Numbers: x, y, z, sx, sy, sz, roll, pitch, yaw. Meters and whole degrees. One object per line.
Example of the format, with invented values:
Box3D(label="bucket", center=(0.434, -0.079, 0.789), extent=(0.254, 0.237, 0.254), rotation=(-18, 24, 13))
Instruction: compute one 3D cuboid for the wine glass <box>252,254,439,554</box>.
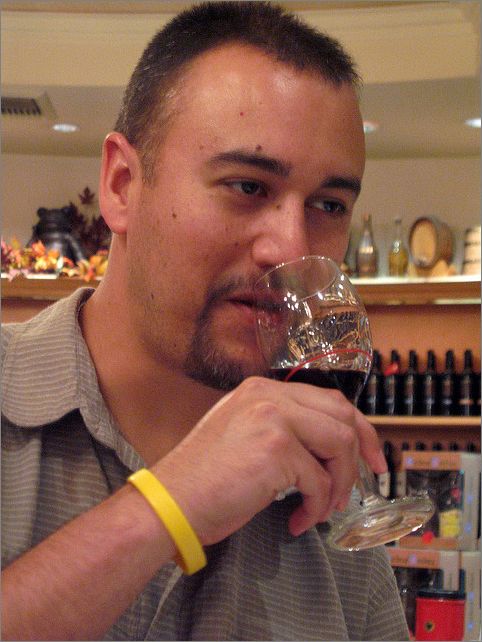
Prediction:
Box3D(label="wine glass", center=(0.143, 0.134, 0.722), extent=(0.168, 0.422, 0.285), rotation=(3, 4, 33))

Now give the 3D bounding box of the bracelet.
Box3D(label="bracelet", center=(-0.062, 0.169, 0.521), extent=(0.066, 0.079, 0.078), rotation=(-26, -17, -14))
